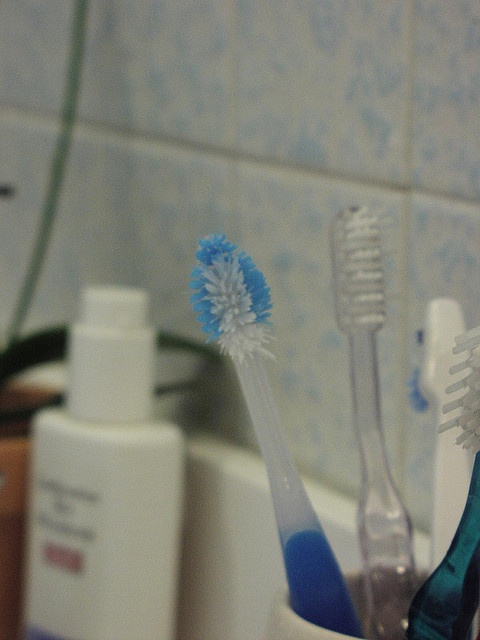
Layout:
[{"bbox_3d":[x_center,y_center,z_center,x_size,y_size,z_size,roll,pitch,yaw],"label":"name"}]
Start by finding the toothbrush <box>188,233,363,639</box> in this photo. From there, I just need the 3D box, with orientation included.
[{"bbox_3d":[0.017,0.018,0.350,0.040,0.221,0.041,-16,-2,-13],"label":"toothbrush"}]

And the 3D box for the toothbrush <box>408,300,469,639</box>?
[{"bbox_3d":[0.090,0.067,0.377,0.020,0.138,0.006,3,-9,30],"label":"toothbrush"}]
